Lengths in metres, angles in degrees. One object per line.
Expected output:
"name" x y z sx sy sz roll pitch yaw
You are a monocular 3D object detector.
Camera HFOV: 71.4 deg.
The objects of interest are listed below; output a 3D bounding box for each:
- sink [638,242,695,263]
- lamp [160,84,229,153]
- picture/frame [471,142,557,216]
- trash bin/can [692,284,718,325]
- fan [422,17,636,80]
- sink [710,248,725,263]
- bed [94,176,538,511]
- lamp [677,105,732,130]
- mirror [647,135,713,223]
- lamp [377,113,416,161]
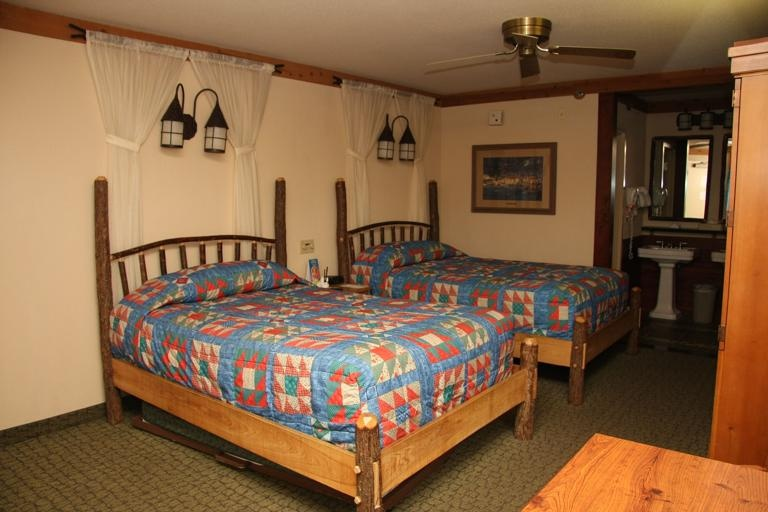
"sink" 3.938 -0.012 7.518 0.703 0.205 0.242 2 8 29
"lamp" -1.818 -1.315 5.085 0.616 0.549 0.268 0 15 -38
"picture/frame" 1.808 -1.075 7.295 1.084 0.875 0.053 4 6 32
"trash bin/can" 4.412 0.691 7.356 0.347 0.429 0.347 5 0 -1
"fan" 1.218 -1.727 4.322 1.388 0.258 1.490 10 14 35
"sink" 4.510 -0.008 7.251 0.208 0.128 0.212 4 7 40
"bed" -0.667 0.429 4.729 3.368 2.320 2.301 7 11 40
"lamp" 4.505 -1.950 7.497 0.532 0.187 0.155 5 11 35
"mirror" 4.295 -1.097 7.809 0.820 1.248 0.039 4 -4 10
"lamp" 0.136 -1.527 6.878 0.646 0.577 0.293 -8 13 -43
